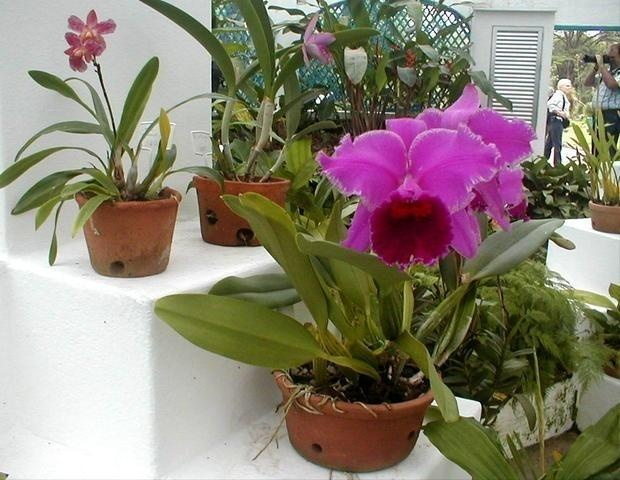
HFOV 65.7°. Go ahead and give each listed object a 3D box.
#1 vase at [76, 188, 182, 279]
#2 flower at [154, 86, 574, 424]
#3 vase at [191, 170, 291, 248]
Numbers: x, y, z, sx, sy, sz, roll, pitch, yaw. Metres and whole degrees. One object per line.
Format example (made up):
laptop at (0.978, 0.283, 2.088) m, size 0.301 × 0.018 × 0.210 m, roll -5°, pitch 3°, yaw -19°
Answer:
vase at (-0.355, -0.013, 0.928) m, size 0.157 × 0.137 × 0.169 m, roll -3°, pitch 14°, yaw -22°
flower at (0.069, 0.059, 0.909) m, size 0.583 × 0.463 × 0.552 m, roll -6°, pitch 0°, yaw -5°
vase at (-0.193, -0.016, 1.239) m, size 0.235 × 0.267 × 0.188 m, roll -9°, pitch 61°, yaw -3°
